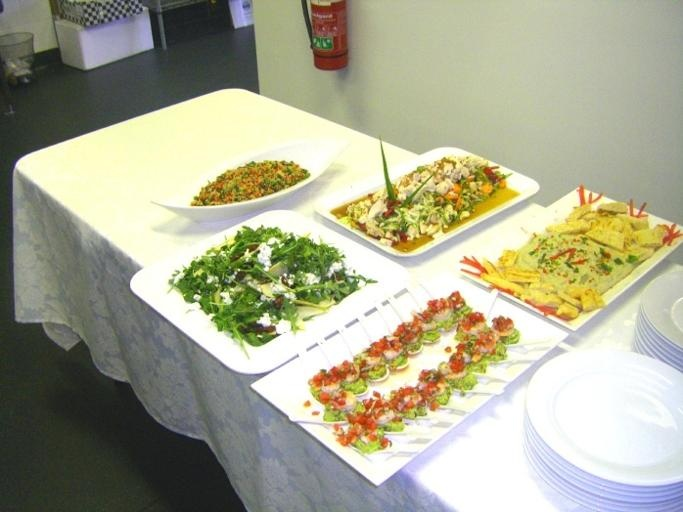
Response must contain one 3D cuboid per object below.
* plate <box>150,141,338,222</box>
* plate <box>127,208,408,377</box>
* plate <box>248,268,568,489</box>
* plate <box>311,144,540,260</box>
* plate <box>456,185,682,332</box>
[{"bbox_3d":[-0.290,-0.311,1.820,0.642,0.116,0.292,-31,46,-26],"label":"plate"},{"bbox_3d":[-0.139,0.110,1.394,0.473,0.066,0.496,33,52,32],"label":"plate"},{"bbox_3d":[0.183,0.239,1.217,0.552,0.080,0.368,-34,47,-27],"label":"plate"},{"bbox_3d":[0.324,-0.185,1.745,0.576,0.080,0.423,-28,48,-28],"label":"plate"},{"bbox_3d":[0.685,-0.107,1.441,0.586,0.074,0.352,-34,49,-28],"label":"plate"}]
